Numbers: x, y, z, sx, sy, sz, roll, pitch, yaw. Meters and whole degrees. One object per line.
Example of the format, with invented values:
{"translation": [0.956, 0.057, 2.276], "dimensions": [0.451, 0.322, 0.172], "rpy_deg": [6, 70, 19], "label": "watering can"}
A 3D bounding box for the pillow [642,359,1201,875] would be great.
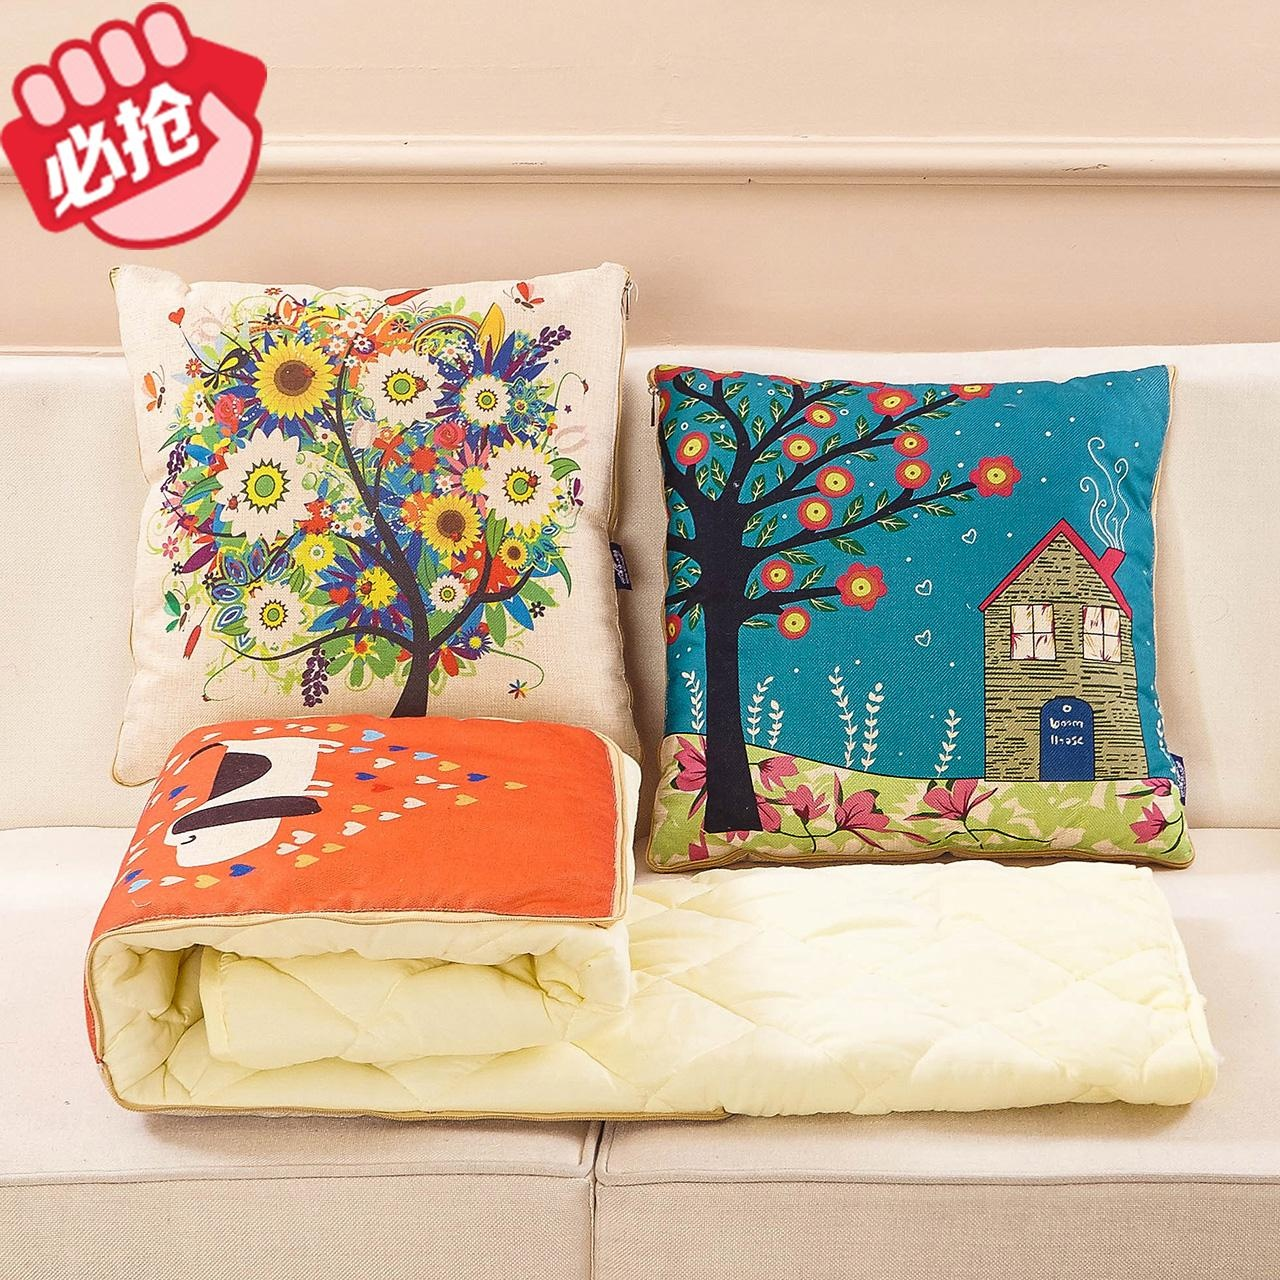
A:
{"translation": [0.265, -0.012, 1.385], "dimensions": [0.696, 0.461, 0.200], "rpy_deg": [-1, -5, 4], "label": "pillow"}

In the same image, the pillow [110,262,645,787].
{"translation": [-0.245, -0.100, 1.369], "dimensions": [0.754, 0.506, 0.216], "rpy_deg": [-1, -2, -4], "label": "pillow"}
